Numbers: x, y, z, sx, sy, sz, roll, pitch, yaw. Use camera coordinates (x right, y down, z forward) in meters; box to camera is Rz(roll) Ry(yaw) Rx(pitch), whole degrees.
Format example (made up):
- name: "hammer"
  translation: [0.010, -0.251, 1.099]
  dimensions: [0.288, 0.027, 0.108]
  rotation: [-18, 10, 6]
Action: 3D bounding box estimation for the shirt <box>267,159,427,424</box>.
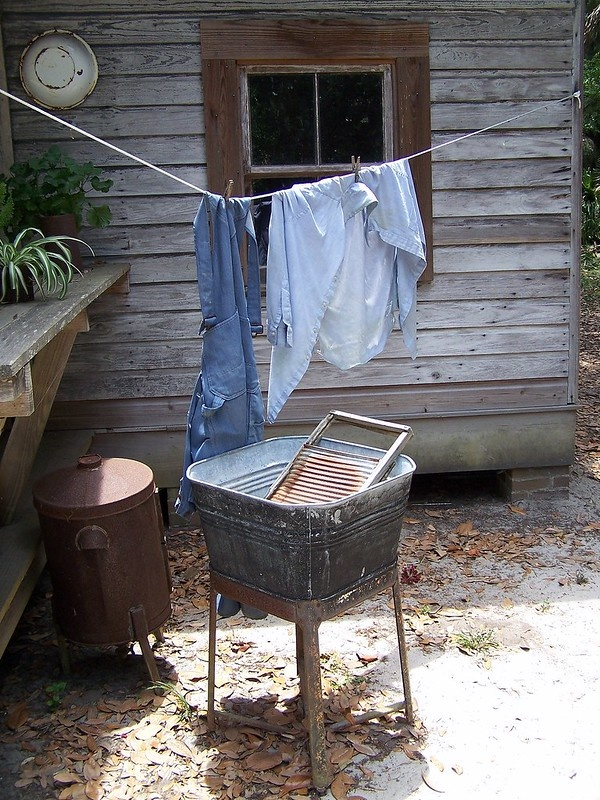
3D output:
- name: "shirt"
  translation: [0.229, -0.451, 2.896]
  dimensions: [0.204, 0.838, 0.957]
  rotation: [21, 37, 39]
